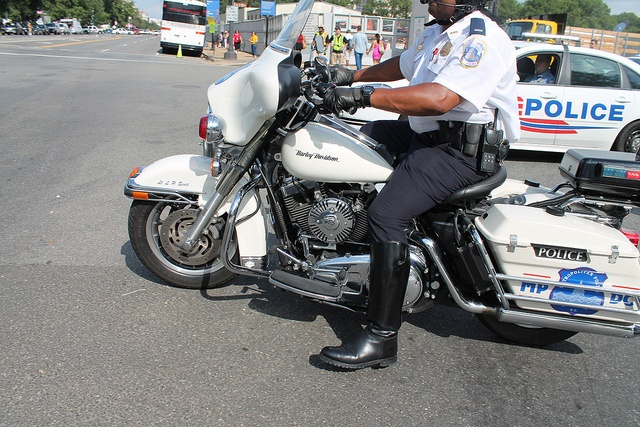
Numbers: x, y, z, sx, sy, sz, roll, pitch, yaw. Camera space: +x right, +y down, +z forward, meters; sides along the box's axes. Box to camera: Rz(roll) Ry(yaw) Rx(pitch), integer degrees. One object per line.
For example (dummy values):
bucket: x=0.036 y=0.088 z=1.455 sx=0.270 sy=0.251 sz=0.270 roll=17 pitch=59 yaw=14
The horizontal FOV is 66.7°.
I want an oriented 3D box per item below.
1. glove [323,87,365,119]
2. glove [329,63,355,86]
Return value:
glove: x=0.168 y=-0.812 z=3.485 sx=0.294 sy=0.180 sz=0.084 roll=3 pitch=26 yaw=1
glove: x=0.198 y=-1.155 z=4.023 sx=0.210 sy=0.216 sz=0.103 roll=3 pitch=-20 yaw=-14
